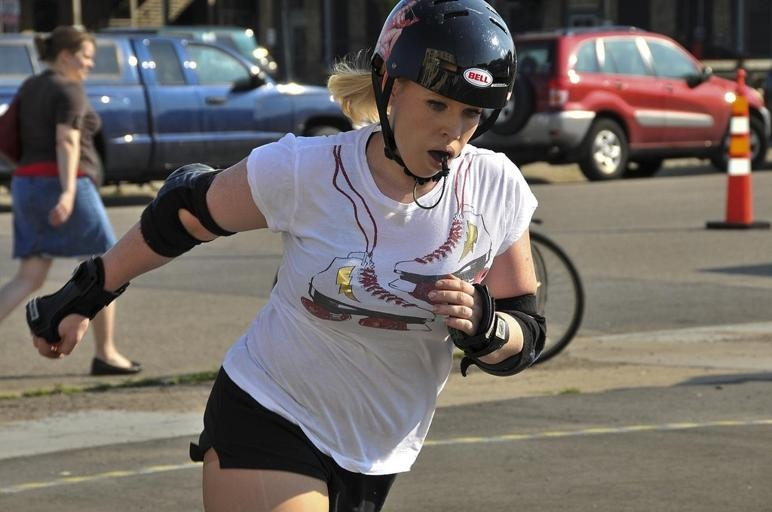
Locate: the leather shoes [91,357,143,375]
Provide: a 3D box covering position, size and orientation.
[{"bbox_3d":[-1.687,0.685,8.081,0.325,0.136,0.119,0,2,-8],"label":"leather shoes"}]

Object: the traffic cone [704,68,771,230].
[{"bbox_3d":[1.670,-0.485,5.933,0.277,0.691,0.335,4,15,35],"label":"traffic cone"}]

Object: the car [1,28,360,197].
[{"bbox_3d":[-2.463,-1.801,14.815,4.002,1.737,1.904,-9,10,-25],"label":"car"}]

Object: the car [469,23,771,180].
[{"bbox_3d":[1.713,-0.816,7.323,1.711,0.748,0.878,-13,14,-40],"label":"car"}]
